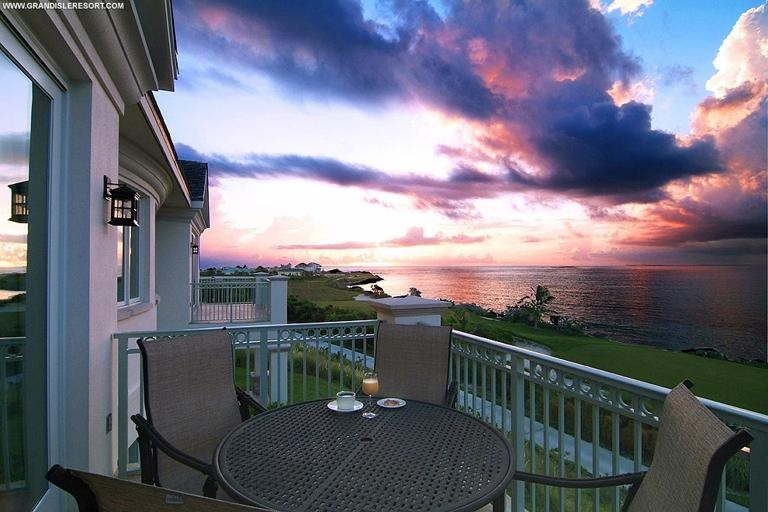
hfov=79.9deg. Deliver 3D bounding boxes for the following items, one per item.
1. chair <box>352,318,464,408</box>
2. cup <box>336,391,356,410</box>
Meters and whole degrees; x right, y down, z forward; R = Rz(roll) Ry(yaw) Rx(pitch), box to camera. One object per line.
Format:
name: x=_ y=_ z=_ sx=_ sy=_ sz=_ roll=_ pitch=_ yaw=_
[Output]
chair: x=0.259 y=1.045 z=4.432 sx=0.684 sy=0.956 sz=0.741 roll=0 pitch=-21 yaw=11
cup: x=-0.306 y=1.155 z=3.667 sx=0.115 sy=0.095 sz=0.128 roll=1 pitch=-10 yaw=-3
